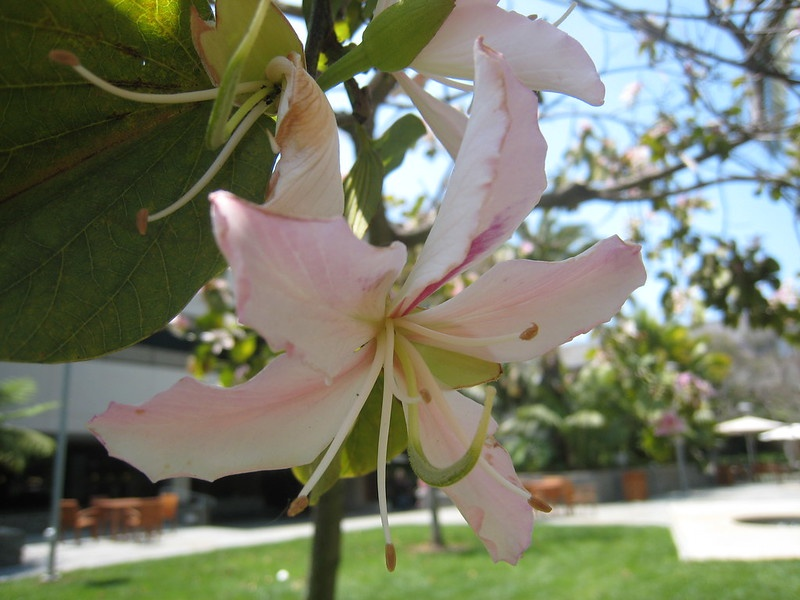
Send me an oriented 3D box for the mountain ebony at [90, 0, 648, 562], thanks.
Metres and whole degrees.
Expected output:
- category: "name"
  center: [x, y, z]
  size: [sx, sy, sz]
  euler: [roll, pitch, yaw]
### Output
- category: "mountain ebony"
  center: [-0.032, -0.032, 1.105]
  size: [0.712, 0.761, 0.385]
  euler: [1, -14, -4]
